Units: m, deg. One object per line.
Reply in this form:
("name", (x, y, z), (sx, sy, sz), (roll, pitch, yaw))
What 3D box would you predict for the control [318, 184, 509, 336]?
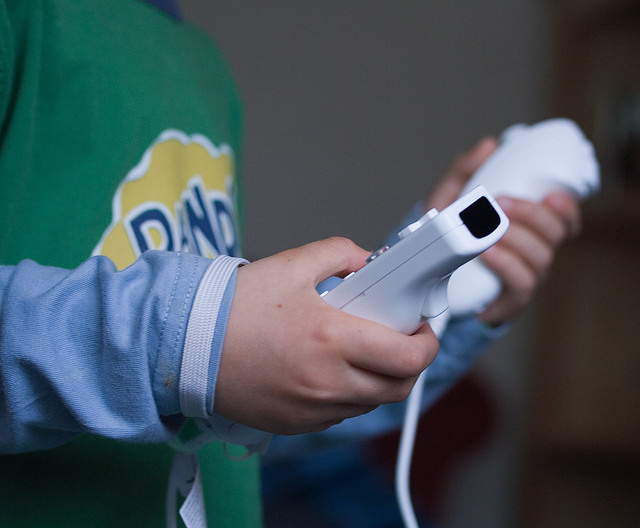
("control", (0.056, 0.016, 0.501), (0.058, 0.088, 0.202), (-33, 8, -36))
